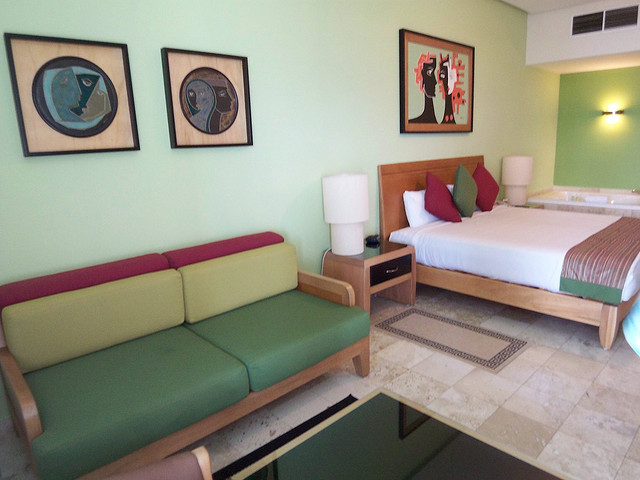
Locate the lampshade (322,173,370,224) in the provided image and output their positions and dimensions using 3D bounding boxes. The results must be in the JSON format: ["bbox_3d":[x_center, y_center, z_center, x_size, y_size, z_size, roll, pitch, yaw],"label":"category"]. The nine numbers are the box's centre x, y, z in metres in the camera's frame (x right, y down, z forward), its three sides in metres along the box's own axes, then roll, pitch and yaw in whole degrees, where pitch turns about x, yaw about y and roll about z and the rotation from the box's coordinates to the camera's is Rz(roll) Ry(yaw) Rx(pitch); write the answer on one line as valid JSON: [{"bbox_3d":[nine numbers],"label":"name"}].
[{"bbox_3d":[0.235,-0.379,4.099,0.389,0.452,0.419,0,8,26],"label":"lampshade"}]

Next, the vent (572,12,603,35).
[{"bbox_3d":[3.349,-2.709,5.759,0.032,0.213,0.294,-16,20,-36],"label":"vent"}]

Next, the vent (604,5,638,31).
[{"bbox_3d":[3.611,-2.666,5.551,0.336,0.226,0.065,9,20,42],"label":"vent"}]

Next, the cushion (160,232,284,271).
[{"bbox_3d":[-0.741,0.062,3.393,0.231,0.067,0.734,20,25,41],"label":"cushion"}]

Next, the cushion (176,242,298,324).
[{"bbox_3d":[-0.618,0.285,3.451,0.313,0.499,1.007,6,14,43],"label":"cushion"}]

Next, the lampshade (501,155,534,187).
[{"bbox_3d":[2.638,-0.926,6.209,0.353,0.429,0.386,-2,7,6],"label":"lampshade"}]

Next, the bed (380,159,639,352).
[{"bbox_3d":[1.772,-0.011,4.383,1.765,1.179,1.974,10,18,40],"label":"bed"}]

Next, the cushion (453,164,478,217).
[{"bbox_3d":[1.549,-0.522,4.931,0.137,0.468,0.484,-10,32,35],"label":"cushion"}]

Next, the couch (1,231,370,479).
[{"bbox_3d":[-0.824,0.593,2.942,1.966,0.902,1.098,-16,19,-37],"label":"couch"}]

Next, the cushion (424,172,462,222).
[{"bbox_3d":[1.226,-0.405,4.759,0.129,0.470,0.480,-26,-32,38],"label":"cushion"}]
